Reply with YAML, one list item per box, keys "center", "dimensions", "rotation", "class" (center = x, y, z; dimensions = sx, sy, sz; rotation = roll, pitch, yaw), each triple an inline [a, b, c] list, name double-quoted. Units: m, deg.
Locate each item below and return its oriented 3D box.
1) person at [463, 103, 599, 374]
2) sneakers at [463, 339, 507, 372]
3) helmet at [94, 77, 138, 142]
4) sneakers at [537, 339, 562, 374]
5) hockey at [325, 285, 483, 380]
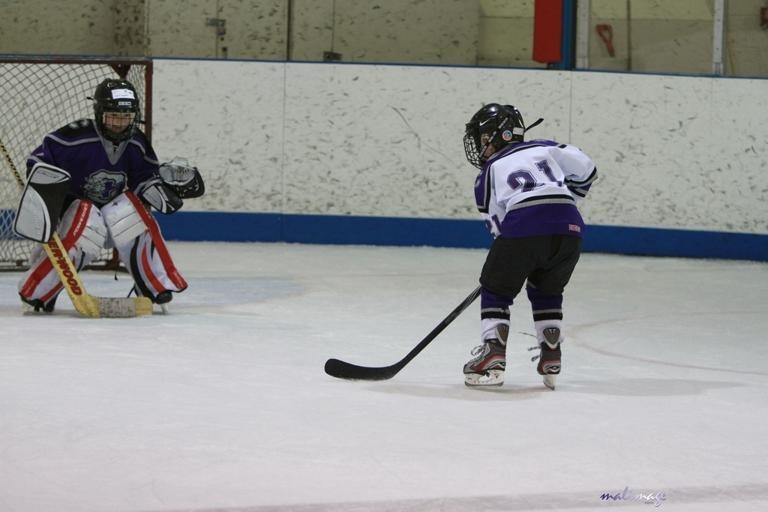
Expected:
- center: [0.542, -0.054, 3.262]
  dimensions: [0.511, 1.037, 0.526]
  rotation: [4, 13, 5]
  class: "person"
- center: [0.387, 0.362, 3.178]
  dimensions: [0.145, 0.148, 0.147]
  rotation: [5, 13, 11]
  class: "sneakers"
- center: [-1.303, -0.713, 4.102]
  dimensions: [0.241, 0.280, 0.302]
  rotation: [-4, 29, -28]
  class: "helmet"
- center: [0.618, 0.380, 3.144]
  dimensions: [0.078, 0.139, 0.061]
  rotation: [5, 13, 7]
  class: "sneakers"
- center: [0.077, 0.281, 3.272]
  dimensions: [0.599, 0.378, 0.234]
  rotation: [1, 13, -9]
  class: "hockey"
